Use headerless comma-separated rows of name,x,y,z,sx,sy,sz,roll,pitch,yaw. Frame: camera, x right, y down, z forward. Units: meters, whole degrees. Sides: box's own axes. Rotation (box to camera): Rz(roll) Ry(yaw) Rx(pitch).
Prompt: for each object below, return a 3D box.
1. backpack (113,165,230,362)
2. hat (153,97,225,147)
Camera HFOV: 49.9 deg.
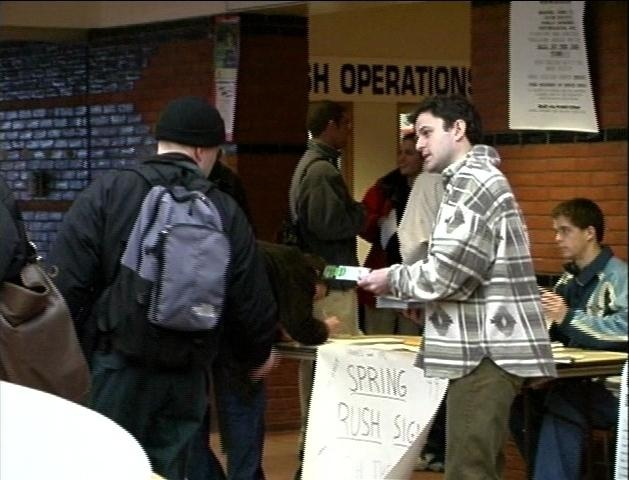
backpack,-0.614,0.123,2.846,0.501,0.859,0.228,-3,7,-16
hat,-0.545,-0.509,3.080,0.267,0.156,0.254,3,5,0
